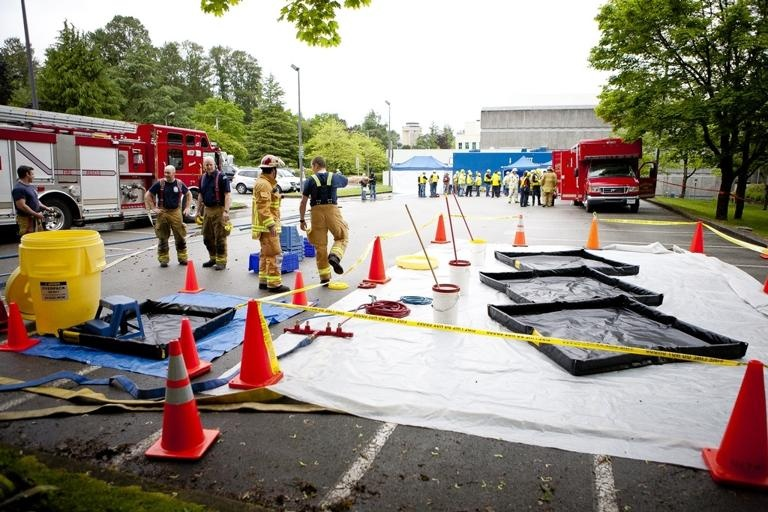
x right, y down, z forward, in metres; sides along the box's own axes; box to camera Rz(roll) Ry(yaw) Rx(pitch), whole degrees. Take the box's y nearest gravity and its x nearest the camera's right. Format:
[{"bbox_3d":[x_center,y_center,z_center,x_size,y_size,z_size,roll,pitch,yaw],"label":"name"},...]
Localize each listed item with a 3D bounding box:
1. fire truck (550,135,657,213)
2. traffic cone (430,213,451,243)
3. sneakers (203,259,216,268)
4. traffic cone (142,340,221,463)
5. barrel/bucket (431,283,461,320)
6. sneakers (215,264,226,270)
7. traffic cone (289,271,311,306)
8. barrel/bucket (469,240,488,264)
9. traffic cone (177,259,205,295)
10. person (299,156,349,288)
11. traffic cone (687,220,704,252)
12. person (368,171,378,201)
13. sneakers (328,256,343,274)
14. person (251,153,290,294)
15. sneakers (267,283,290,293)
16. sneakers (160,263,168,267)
[{"bbox_3d":[10.903,-4.034,26.415,3.621,2.522,5.196,0,9,9],"label":"fire truck"},{"bbox_3d":[1.657,-0.842,15.540,0.490,0.898,1.303,-1,11,5],"label":"traffic cone"},{"bbox_3d":[-4.154,0.173,12.603,0.423,0.183,0.146,1,2,-21],"label":"sneakers"},{"bbox_3d":[-2.336,1.585,5.972,0.726,1.357,0.456,-1,12,4],"label":"traffic cone"},{"bbox_3d":[0.981,0.754,8.604,0.557,0.733,0.506,-1,5,-13],"label":"barrel/bucket"},{"bbox_3d":[-3.822,0.250,12.229,0.097,0.115,0.269,2,7,6],"label":"sneakers"},{"bbox_3d":[-1.555,0.621,9.651,0.396,0.553,0.418,18,29,39],"label":"traffic cone"},{"bbox_3d":[2.188,-0.079,12.212,0.353,0.530,0.370,-2,12,0],"label":"barrel/bucket"},{"bbox_3d":[-3.807,0.373,10.290,0.420,0.651,0.649,-6,12,-21],"label":"traffic cone"},{"bbox_3d":[-1.212,-0.713,10.737,0.962,2.569,1.290,-3,12,-4],"label":"person"},{"bbox_3d":[8.010,-0.515,13.440,0.258,0.755,0.947,5,13,29],"label":"traffic cone"},{"bbox_3d":[-0.789,-4.599,34.576,0.365,1.768,1.227,-3,12,-5],"label":"person"},{"bbox_3d":[-1.002,0.179,10.671,0.131,0.312,0.218,-32,15,-4],"label":"sneakers"},{"bbox_3d":[-2.338,-0.671,10.548,0.589,2.658,1.433,-4,12,-11],"label":"person"},{"bbox_3d":[-2.090,0.622,10.423,0.424,0.189,0.184,-1,4,-6],"label":"sneakers"},{"bbox_3d":[-5.236,0.210,12.481,0.149,0.072,0.226,-8,13,-28],"label":"sneakers"}]
